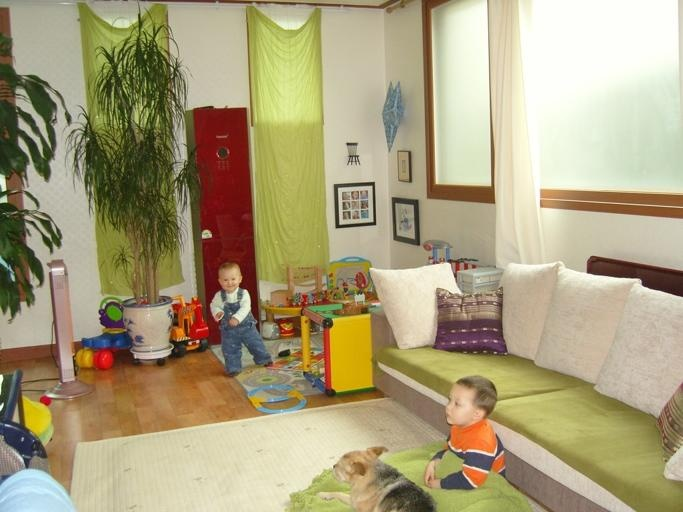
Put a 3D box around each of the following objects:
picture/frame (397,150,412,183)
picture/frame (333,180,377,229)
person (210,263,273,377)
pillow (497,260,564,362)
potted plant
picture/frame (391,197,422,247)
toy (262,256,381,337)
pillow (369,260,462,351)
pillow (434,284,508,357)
[{"bbox_3d":[0.748,-1.101,6.292,0.034,0.372,0.281,2,8,34],"label":"picture/frame"},{"bbox_3d":[0.137,-0.667,6.549,0.564,0.623,0.043,-2,7,-24],"label":"picture/frame"},{"bbox_3d":[-0.971,0.594,4.870,0.470,1.083,0.338,-5,18,-6],"label":"person"},{"bbox_3d":[1.287,0.402,3.483,0.200,0.579,0.587,11,-4,-25],"label":"pillow"},{"bbox_3d":[-1.989,-0.750,5.074,1.161,3.641,1.417,-8,11,-29],"label":"potted plant"},{"bbox_3d":[0.803,-0.425,6.292,0.042,0.555,0.550,-6,10,-26],"label":"picture/frame"},{"bbox_3d":[-0.193,0.396,6.023,0.904,0.622,0.825,-3,6,-31],"label":"toy"},{"bbox_3d":[0.520,0.344,3.807,0.597,0.612,0.190,-10,-16,-22],"label":"pillow"},{"bbox_3d":[0.926,0.485,3.680,0.413,0.451,0.148,2,-20,10],"label":"pillow"}]
